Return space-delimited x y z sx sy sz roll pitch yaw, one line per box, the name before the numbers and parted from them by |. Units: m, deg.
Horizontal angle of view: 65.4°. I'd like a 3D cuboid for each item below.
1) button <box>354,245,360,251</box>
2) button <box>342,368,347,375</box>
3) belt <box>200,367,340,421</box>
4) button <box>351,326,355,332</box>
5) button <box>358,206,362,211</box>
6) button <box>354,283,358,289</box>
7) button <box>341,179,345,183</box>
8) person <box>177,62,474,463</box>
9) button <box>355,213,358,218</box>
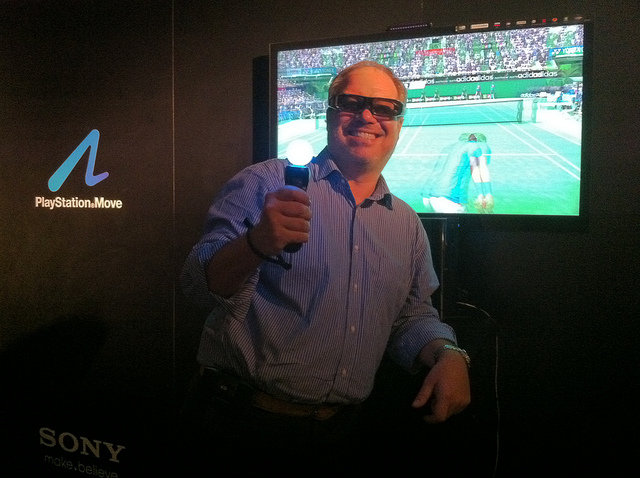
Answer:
button | 0.145 0.030 1.977 0.019 0.018 0.004 3 -17 -15
button | 0.095 0.519 1.943 0.017 0.017 0.004 -2 -4 -18
belt | -0.196 0.618 1.950 0.547 0.183 0.059 2 6 -1
button | 0.130 0.352 1.958 0.013 0.020 0.002 2 6 -5
button | 0.162 -0.130 2.016 0.009 0.015 0.019 8 9 43
button | 0.142 0.182 1.965 0.013 0.019 0.004 1 6 -15
button | 0.092 -0.241 2.012 0.016 0.016 0.004 2 2 2
person | 0.029 0.107 1.909 1.070 1.684 0.544 1 6 -17
button | 0.146 -0.100 1.999 0.013 0.017 0.006 -2 8 -38
